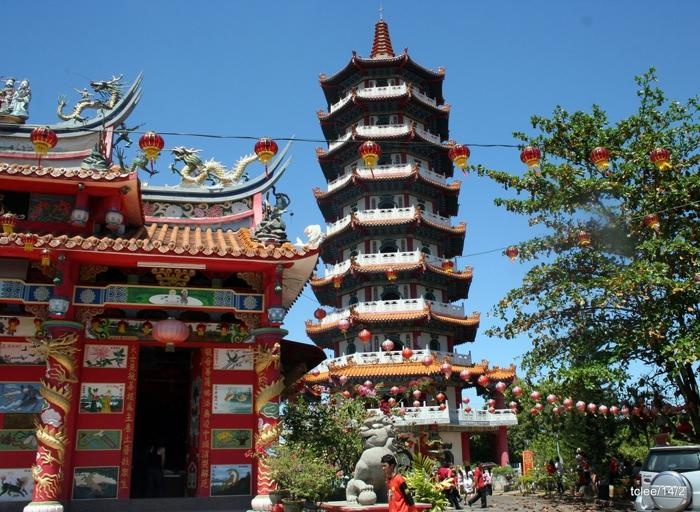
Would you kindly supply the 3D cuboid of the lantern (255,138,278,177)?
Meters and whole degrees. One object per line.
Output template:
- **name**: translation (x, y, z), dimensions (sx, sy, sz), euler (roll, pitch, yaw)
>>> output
- **lantern**: translation (-2.212, -2.555, 19.869), dimensions (0.522, 0.911, 0.812), euler (7, -23, -14)

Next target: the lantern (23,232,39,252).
- **lantern**: translation (-7.532, -0.353, 18.076), dimensions (0.369, 0.484, 0.357), euler (1, -7, -9)

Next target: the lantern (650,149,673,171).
- **lantern**: translation (8.098, -2.508, 20.103), dimensions (0.411, 0.754, 0.623), euler (-8, -24, 20)

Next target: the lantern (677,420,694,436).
- **lantern**: translation (11.157, 5.696, 25.655), dimensions (0.430, 0.496, 0.310), euler (-23, -19, 0)

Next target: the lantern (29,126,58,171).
- **lantern**: translation (-8.132, -2.964, 20.360), dimensions (0.643, 0.923, 1.391), euler (11, -24, -22)

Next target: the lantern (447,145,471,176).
- **lantern**: translation (2.758, -2.552, 19.546), dimensions (0.432, 1.012, 0.908), euler (-1, -22, 5)
